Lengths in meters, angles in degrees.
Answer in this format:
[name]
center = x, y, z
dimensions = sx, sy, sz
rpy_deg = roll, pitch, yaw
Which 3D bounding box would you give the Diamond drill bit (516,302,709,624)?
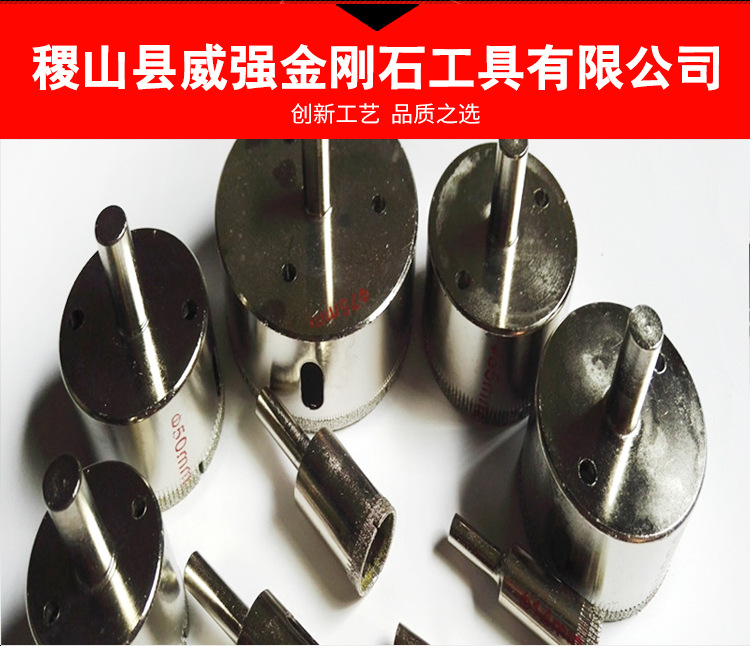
[Diamond drill bit]
center = 0.218, 0.115, 0.857
dimensions = 0.156, 0.311, 0.167
rpy_deg = 10, 28, 21
